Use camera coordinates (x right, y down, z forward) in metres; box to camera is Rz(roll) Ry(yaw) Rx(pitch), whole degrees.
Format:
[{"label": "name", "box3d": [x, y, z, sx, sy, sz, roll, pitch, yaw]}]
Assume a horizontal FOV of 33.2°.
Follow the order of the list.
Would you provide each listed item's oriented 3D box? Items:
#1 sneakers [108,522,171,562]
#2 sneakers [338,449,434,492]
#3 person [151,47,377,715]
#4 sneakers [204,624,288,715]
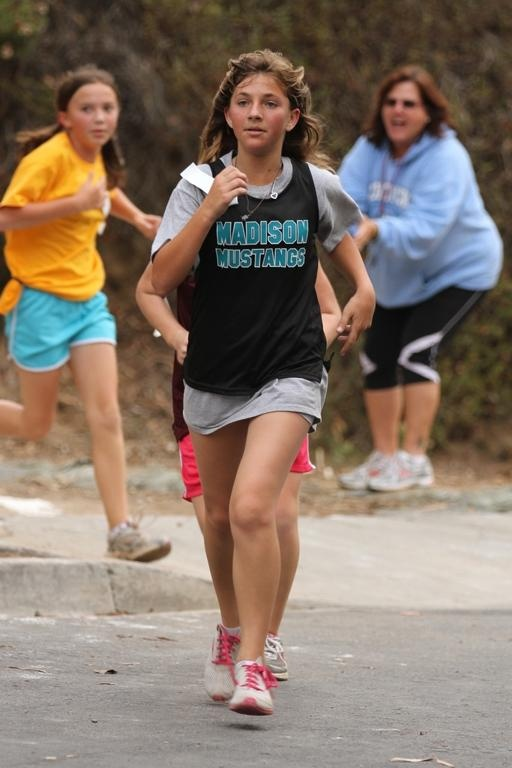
[{"label": "sneakers", "box3d": [-0.448, 0.681, 3.647, 0.337, 0.132, 0.117, -7, -7, 37]}, {"label": "sneakers", "box3d": [0.779, 0.517, 5.104, 0.475, 0.174, 0.268, -4, -9, 39]}, {"label": "person", "box3d": [0.032, 0.008, 2.476, 0.787, 1.679, 0.629, -1, -8, 35]}, {"label": "sneakers", "box3d": [-0.049, 0.668, 1.951, 0.115, 0.125, 0.302, 19, -11, -8]}]
